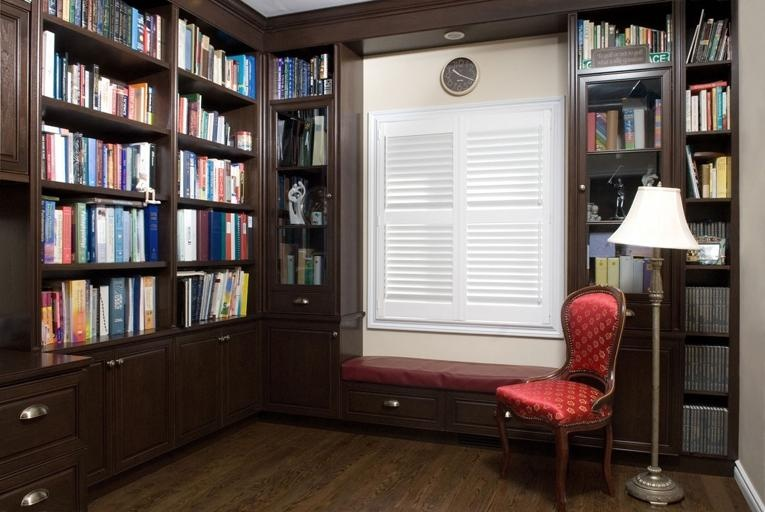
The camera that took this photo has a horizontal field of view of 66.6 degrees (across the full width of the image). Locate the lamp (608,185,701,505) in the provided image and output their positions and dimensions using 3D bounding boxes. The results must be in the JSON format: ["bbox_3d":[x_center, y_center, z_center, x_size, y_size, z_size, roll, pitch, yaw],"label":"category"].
[{"bbox_3d":[1.793,0.534,3.769,0.618,1.944,0.528,-7,12,-39],"label":"lamp"}]

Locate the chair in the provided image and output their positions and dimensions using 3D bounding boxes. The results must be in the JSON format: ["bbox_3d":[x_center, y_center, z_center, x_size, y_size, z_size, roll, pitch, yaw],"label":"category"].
[{"bbox_3d":[1.225,0.859,3.787,0.701,1.267,0.584,-6,11,-34],"label":"chair"}]
